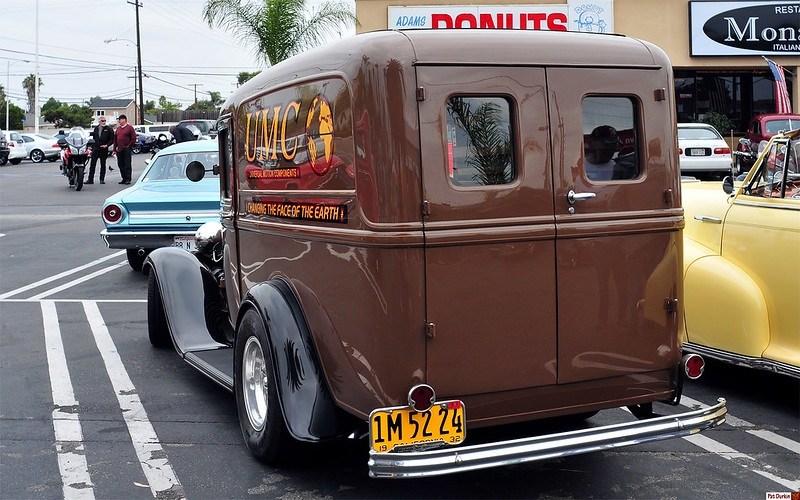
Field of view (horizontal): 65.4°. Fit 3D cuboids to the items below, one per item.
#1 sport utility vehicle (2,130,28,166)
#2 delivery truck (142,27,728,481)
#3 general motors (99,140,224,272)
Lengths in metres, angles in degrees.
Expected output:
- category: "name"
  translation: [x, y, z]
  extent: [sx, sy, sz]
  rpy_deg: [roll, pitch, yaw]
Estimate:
- category: "sport utility vehicle"
  translation: [-23.238, -6.261, 37.760]
  extent: [1.088, 1.863, 2.438]
  rpy_deg: [-6, 13, -28]
- category: "delivery truck"
  translation: [0.197, 0.047, 4.948]
  extent: [4.433, 3.444, 2.149]
  rpy_deg: [6, 13, 26]
- category: "general motors"
  translation: [-4.187, -1.020, 11.977]
  extent: [2.013, 1.481, 3.513]
  rpy_deg: [-1, 12, -9]
